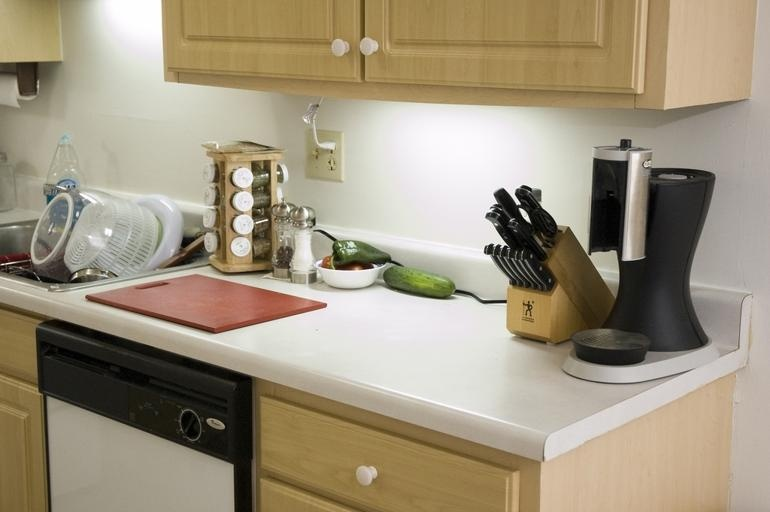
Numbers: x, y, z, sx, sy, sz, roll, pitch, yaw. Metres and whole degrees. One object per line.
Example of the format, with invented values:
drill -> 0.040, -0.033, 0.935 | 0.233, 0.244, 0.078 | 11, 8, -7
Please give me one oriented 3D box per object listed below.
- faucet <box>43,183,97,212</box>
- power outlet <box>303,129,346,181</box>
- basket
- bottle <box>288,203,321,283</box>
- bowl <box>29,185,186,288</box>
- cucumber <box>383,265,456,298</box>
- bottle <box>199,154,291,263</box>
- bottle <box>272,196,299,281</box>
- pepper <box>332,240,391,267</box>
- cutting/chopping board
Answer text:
faucet -> -1.072, -0.203, 2.170 | 0.148, 0.061, 0.107 | 22, 27, 37
power outlet -> -0.192, -0.320, 2.013 | 0.158, 0.159, 0.024 | 10, 18, 37
basket -> -0.848, -0.058, 2.017 | 0.253, 0.239, 0.106 | -3, 8, -8
bottle -> -0.232, -0.040, 1.868 | 0.077, 0.220, 0.071 | -1, 14, 0
bowl -> -0.881, -0.120, 2.135 | 0.420, 0.310, 0.364 | 9, 17, 34
cucumber -> 0.095, 0.073, 1.784 | 0.224, 0.078, 0.075 | 12, 15, 31
bottle -> -0.416, -0.146, 1.925 | 0.258, 0.376, 0.129 | -5, 14, -16
bottle -> -0.284, -0.052, 1.875 | 0.061, 0.230, 0.072 | -18, 23, -42
pepper -> -0.059, -0.012, 1.818 | 0.132, 0.055, 0.074 | 2, 22, -12
cutting/chopping board -> -0.460, 0.113, 1.657 | 0.561, 0.029, 0.328 | 7, 16, 29
